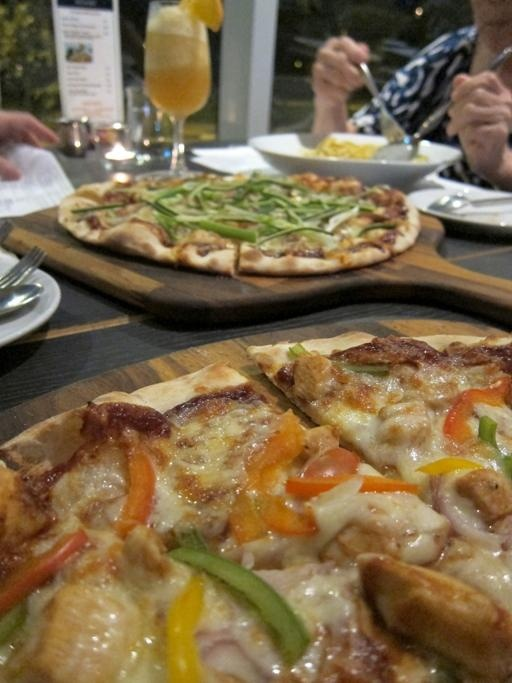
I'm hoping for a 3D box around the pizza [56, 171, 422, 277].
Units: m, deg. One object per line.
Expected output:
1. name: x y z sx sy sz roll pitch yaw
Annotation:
1. pizza: -0.039 -0.362 1.746 0.777 0.086 0.656 -4 23 -17
